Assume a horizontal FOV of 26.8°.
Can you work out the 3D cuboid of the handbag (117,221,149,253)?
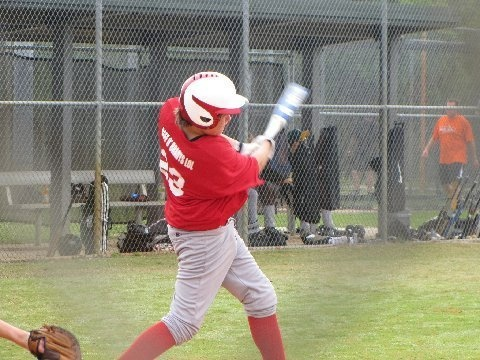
[{"bbox_3d":[-1.408,0.786,13.876,0.347,0.510,0.512,8,-10,-17],"label":"handbag"}]

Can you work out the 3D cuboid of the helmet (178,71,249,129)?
[{"bbox_3d":[-0.241,-0.745,8.811,0.593,0.398,0.454,3,38,2],"label":"helmet"}]

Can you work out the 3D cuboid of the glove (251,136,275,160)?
[{"bbox_3d":[0.196,-0.281,8.913,0.191,0.190,0.187,-5,5,-41],"label":"glove"}]

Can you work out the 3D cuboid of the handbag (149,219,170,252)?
[{"bbox_3d":[-1.078,0.754,13.738,0.320,0.416,0.103,-4,18,-33],"label":"handbag"}]

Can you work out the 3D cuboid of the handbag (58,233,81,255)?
[{"bbox_3d":[-2.215,0.873,13.252,0.303,0.289,0.188,2,-4,-11],"label":"handbag"}]
